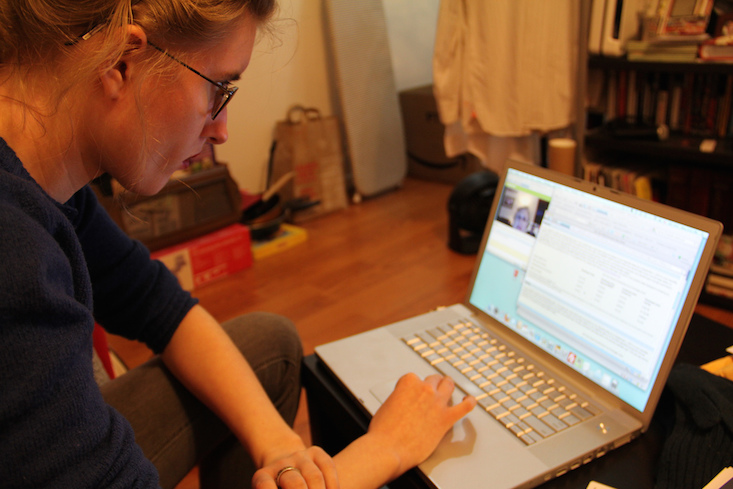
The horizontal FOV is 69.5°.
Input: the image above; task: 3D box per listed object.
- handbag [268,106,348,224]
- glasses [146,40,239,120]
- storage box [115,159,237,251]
[{"bbox_3d":[-0.349,-0.442,3.000,0.472,0.679,0.250,-21,32,-30],"label":"handbag"},{"bbox_3d":[-0.278,-0.262,0.853,0.027,0.090,0.087,-52,9,-4],"label":"glasses"},{"bbox_3d":[-0.824,-0.156,2.364,0.409,0.284,0.582,21,35,38],"label":"storage box"}]
